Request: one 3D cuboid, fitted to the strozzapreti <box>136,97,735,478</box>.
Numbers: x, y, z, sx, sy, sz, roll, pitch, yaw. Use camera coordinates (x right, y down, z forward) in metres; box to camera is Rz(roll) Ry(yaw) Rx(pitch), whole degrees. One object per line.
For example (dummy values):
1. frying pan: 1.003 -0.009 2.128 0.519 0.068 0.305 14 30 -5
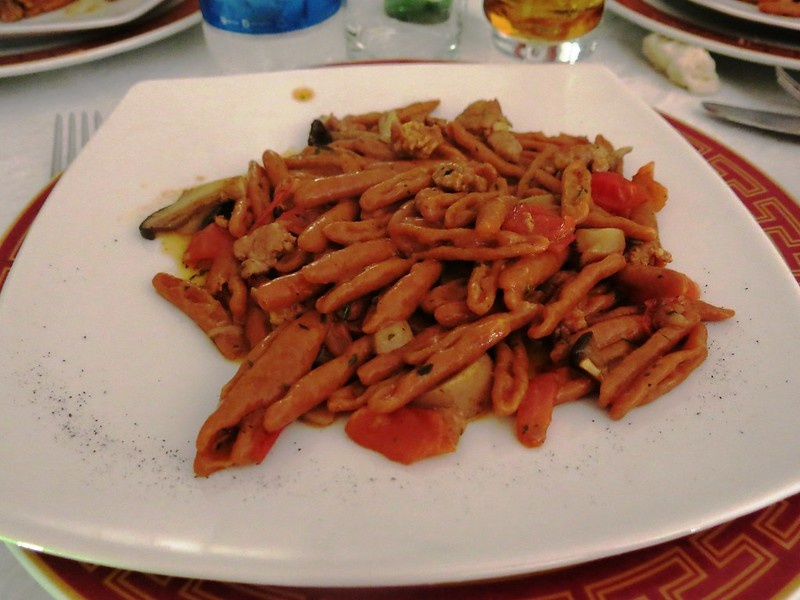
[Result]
1. strozzapreti: 0.039 -0.137 2.551 1.320 0.255 1.369 -2 41 -4
